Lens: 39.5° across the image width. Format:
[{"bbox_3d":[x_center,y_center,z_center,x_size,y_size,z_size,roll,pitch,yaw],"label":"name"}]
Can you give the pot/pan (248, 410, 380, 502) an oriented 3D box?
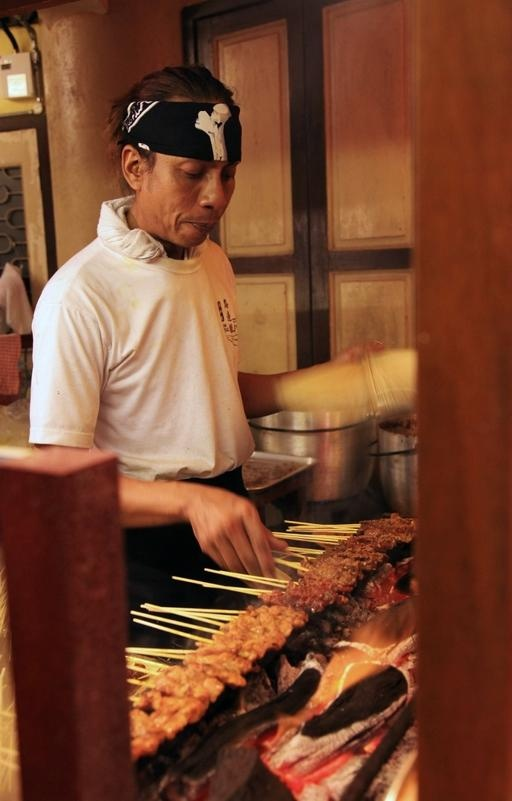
[{"bbox_3d":[0.087,0.077,1.000,0.146,0.097,0.119,-1,-1,8],"label":"pot/pan"}]
